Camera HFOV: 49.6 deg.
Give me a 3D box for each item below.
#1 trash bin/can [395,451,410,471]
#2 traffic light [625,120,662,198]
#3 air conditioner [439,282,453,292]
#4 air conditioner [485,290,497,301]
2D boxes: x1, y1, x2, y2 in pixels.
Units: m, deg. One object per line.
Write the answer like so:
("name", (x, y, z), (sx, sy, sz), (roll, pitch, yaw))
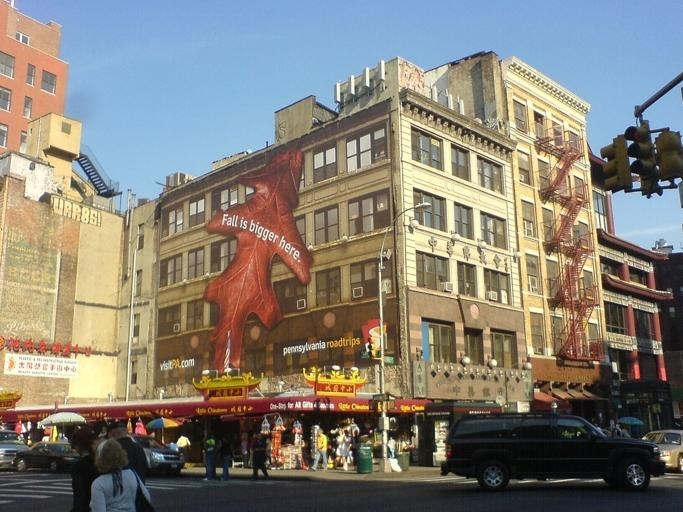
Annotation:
("trash bin/can", (3.069, 10.359, 37.248), (0.540, 0.867, 0.458), (-1, -19, -3))
("traffic light", (8.175, -2.704, 20.022), (0.706, 2.246, 1.050), (-17, -24, 38))
("air conditioner", (6.725, 1.995, 47.414), (0.650, 0.570, 0.965), (-7, -13, 26))
("air conditioner", (10.173, 2.770, 50.437), (0.570, 0.803, 1.096), (-5, -8, 39))
